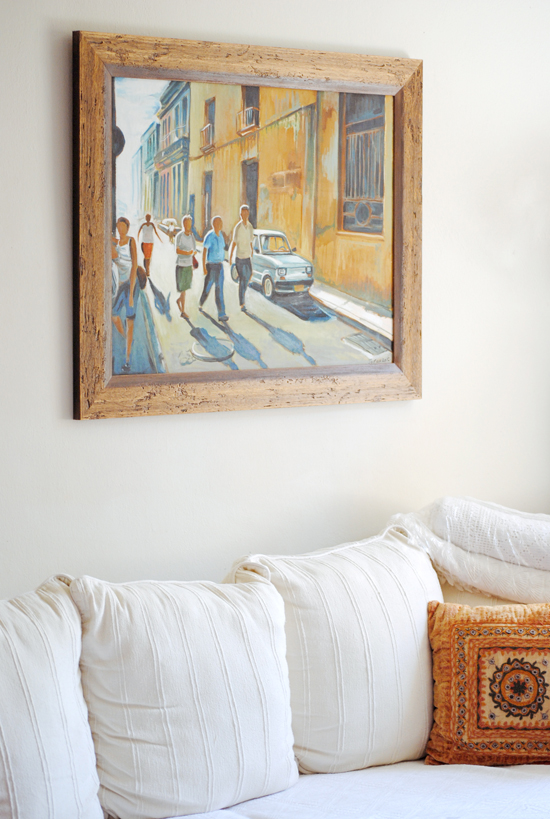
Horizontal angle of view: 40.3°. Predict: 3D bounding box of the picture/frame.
[{"bbox_3d":[-0.097,-0.460,1.788,0.855,0.917,0.037,-5,9,-30],"label":"picture/frame"}]
